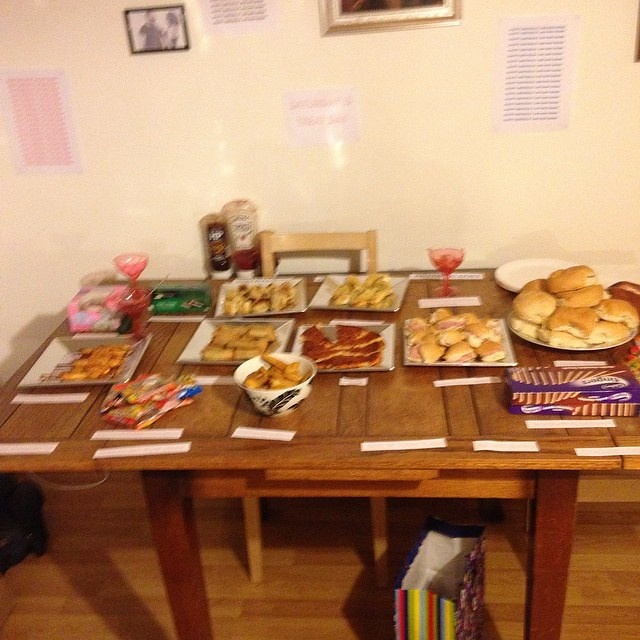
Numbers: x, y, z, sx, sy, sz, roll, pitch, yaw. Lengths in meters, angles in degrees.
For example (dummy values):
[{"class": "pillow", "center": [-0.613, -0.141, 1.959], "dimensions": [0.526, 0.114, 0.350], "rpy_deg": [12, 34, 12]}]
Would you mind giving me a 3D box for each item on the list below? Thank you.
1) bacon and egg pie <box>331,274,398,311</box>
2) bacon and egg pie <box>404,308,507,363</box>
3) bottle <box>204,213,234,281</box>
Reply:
[{"class": "bacon and egg pie", "center": [0.128, -0.082, 1.628], "dimensions": [0.161, 0.043, 0.124], "rpy_deg": [0, 36, 13]}, {"class": "bacon and egg pie", "center": [0.311, 0.037, 1.326], "dimensions": [0.180, 0.042, 0.153], "rpy_deg": [0, 28, 8]}, {"class": "bottle", "center": [-0.356, -0.238, 1.962], "dimensions": [0.129, 0.190, 0.067], "rpy_deg": [-1, 13, 9]}]
